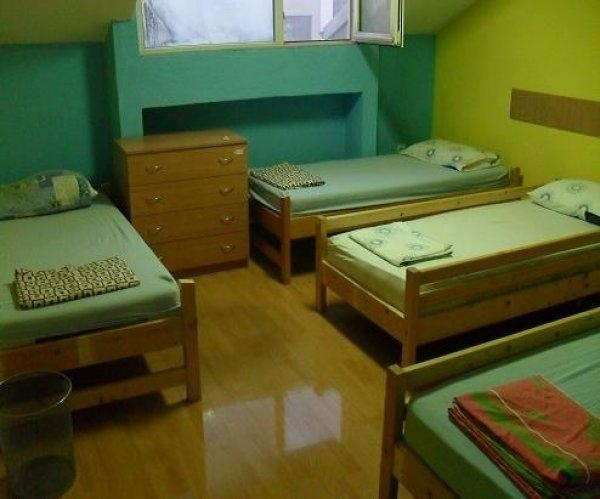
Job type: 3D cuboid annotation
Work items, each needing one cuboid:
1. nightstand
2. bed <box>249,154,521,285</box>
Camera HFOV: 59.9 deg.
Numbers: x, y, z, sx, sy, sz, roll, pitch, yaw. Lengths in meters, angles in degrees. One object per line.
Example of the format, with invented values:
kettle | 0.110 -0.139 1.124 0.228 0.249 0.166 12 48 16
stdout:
nightstand | -0.867 -0.341 3.758 0.803 0.997 0.507 -11 30 -19
bed | 0.632 -0.565 4.311 1.964 0.632 1.059 -13 31 -22
